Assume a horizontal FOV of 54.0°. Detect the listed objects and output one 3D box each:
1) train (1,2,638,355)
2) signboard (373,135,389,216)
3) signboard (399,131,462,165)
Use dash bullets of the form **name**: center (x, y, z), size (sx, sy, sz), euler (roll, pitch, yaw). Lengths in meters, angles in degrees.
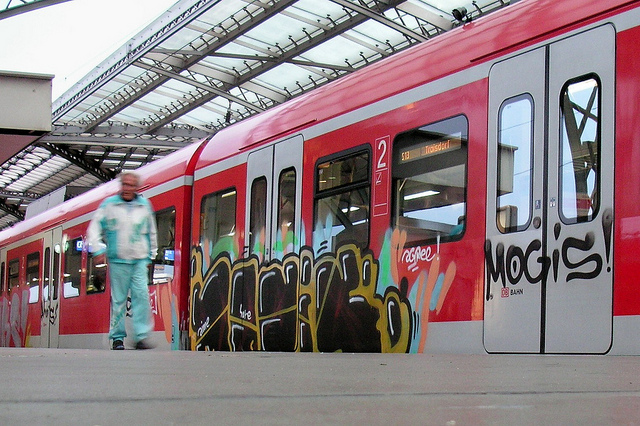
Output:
- **train**: center (0.572, -0.122, 7.447), size (6.321, 3.774, 1.081), euler (-12, -17, 36)
- **signboard**: center (0.694, -0.424, 7.177), size (0.039, 0.893, 0.288), euler (8, -17, -35)
- **signboard**: center (1.204, -0.692, 6.782), size (1.321, 0.326, 0.019), euler (-16, 23, -39)
